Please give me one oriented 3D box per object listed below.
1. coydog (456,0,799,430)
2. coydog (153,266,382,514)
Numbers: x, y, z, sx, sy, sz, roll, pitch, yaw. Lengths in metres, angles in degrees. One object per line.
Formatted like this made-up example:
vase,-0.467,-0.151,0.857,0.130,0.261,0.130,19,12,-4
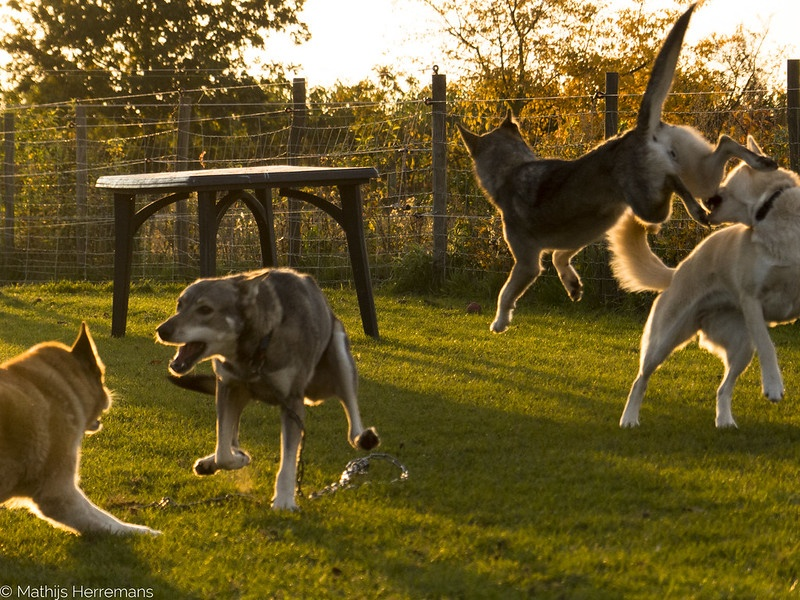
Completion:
coydog,1.144,-0.730,6.048,1.585,1.894,0.478,4,15,17
coydog,-0.813,0.514,6.265,1.218,1.337,0.640,-6,15,-19
